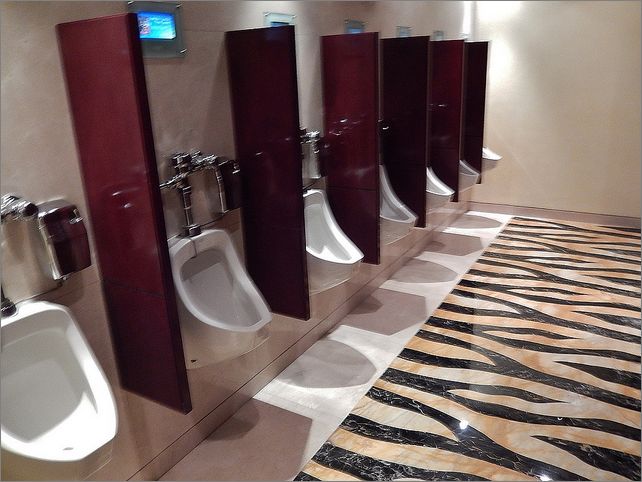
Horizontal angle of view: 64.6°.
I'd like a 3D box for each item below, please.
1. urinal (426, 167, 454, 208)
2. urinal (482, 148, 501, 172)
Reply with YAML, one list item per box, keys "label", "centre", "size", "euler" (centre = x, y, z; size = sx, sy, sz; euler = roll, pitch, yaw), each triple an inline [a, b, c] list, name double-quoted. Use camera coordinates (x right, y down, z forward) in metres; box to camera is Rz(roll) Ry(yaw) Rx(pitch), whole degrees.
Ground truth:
- label: "urinal"
  centre: [1.110, -0.470, 4.714]
  size: [0.244, 0.307, 0.559]
  euler: [2, 24, 12]
- label: "urinal"
  centre: [1.971, -0.889, 5.853]
  size: [0.212, 0.323, 0.471]
  euler: [5, 25, 18]
